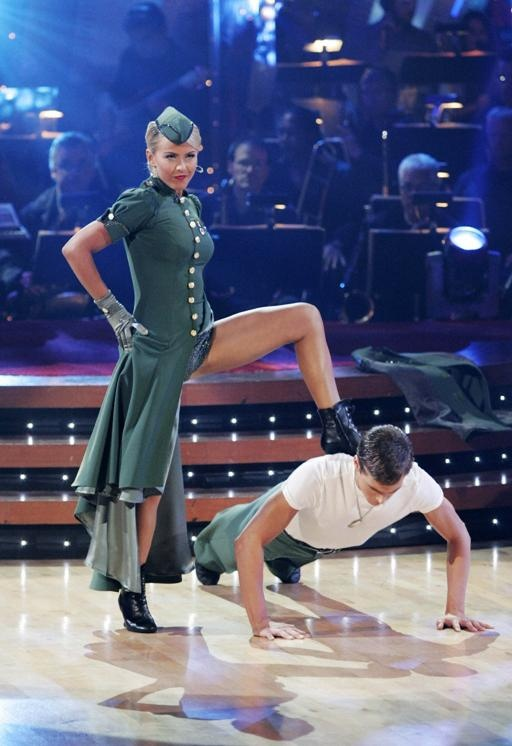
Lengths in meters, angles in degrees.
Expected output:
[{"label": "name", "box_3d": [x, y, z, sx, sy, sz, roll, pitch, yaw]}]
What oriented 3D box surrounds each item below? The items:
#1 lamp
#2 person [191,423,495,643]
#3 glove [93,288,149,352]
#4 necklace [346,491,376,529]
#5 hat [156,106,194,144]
[{"label": "lamp", "box_3d": [1.488, -0.711, 5.296, 0.532, 0.637, 0.405, 2, 1, 14]}, {"label": "person", "box_3d": [0.200, 0.432, 2.147, 0.648, 0.618, 0.908, 1, 1, -25]}, {"label": "glove", "box_3d": [-0.361, -0.135, 1.983, 0.134, 0.153, 0.129, 1, 1, -1]}, {"label": "necklace", "box_3d": [0.271, 0.363, 1.957, 0.083, 0.079, 0.084, -24, -3, 3]}, {"label": "hat", "box_3d": [-0.214, -0.649, 1.988, 0.093, 0.111, 0.055, -24, -19, -4]}]
